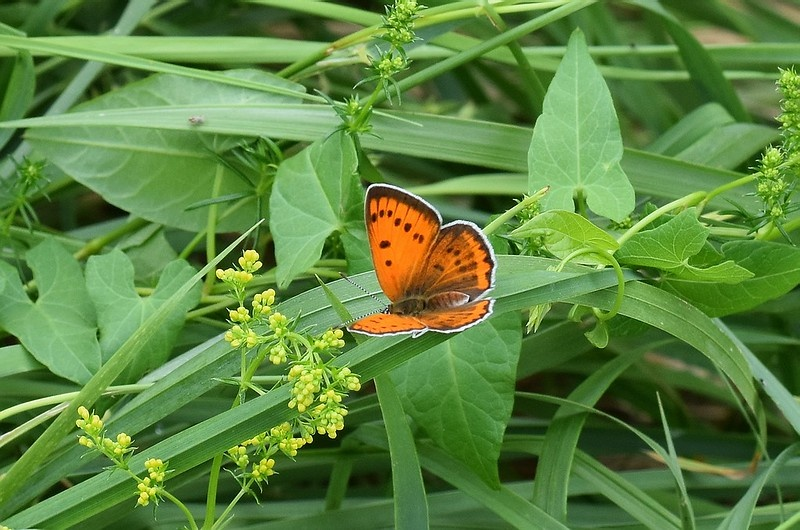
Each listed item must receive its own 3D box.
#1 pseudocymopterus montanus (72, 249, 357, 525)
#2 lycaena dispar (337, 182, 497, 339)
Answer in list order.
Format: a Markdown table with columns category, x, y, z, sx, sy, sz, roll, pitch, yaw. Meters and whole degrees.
| category | x | y | z | sx | sy | sz | roll | pitch | yaw |
| --- | --- | --- | --- | --- | --- | --- | --- | --- | --- |
| pseudocymopterus montanus | -0.301 | 0.181 | 1.157 | 0.337 | 0.303 | 0.433 | 17 | -49 | 13 |
| lycaena dispar | 0.021 | -0.008 | 1.126 | 0.233 | 0.116 | 0.236 | -4 | -61 | -3 |
